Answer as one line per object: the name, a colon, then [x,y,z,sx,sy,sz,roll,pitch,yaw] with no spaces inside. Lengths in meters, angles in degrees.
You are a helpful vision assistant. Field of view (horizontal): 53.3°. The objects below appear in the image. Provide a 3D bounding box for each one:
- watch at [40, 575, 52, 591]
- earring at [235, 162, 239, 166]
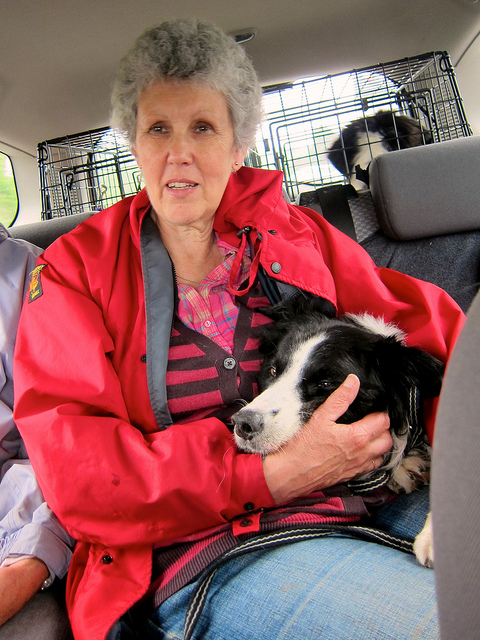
watch: [-0.538,0.732,1.342,0.026,0.023,0.026,-29,-6,-1]
earring: [-0.016,-0.674,2.081,0.019,0.013,0.010,-14,-1,-27]
